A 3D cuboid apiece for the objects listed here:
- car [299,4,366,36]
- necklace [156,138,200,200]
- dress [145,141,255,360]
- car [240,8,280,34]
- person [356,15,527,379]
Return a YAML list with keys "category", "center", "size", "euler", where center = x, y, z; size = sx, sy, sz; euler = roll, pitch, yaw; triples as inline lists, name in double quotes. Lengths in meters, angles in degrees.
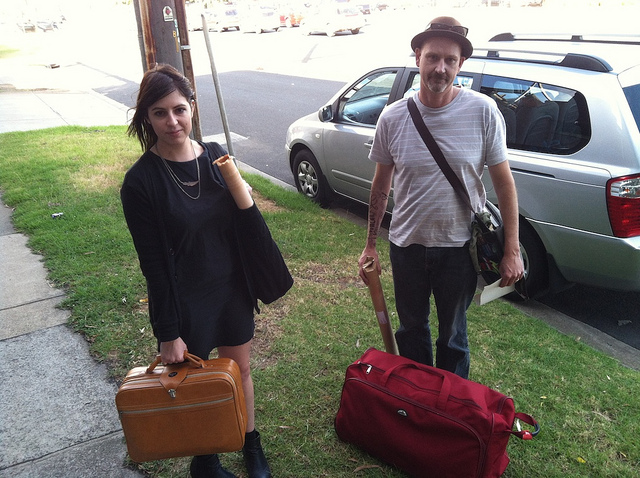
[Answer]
- category: "car"
  center: [0.749, -14.792, 29.268]
  size: [3.830, 1.709, 2.248]
  euler: [24, 43, 31]
- category: "necklace"
  center: [-0.748, -0.366, 2.299]
  size: [0.206, 0.256, 0.222]
  euler: [-7, 26, -20]
- category: "dress"
  center: [-0.614, 0.053, 2.495]
  size: [0.468, 1.189, 0.385]
  euler: [-8, 10, 6]
- category: "car"
  center: [-4.839, -17.685, 34.510]
  size: [1.848, 1.675, 3.204]
  euler: [-12, 29, -26]
- category: "person"
  center: [0.724, -0.025, 2.754]
  size: [0.985, 2.492, 0.566]
  euler: [3, 15, 26]
